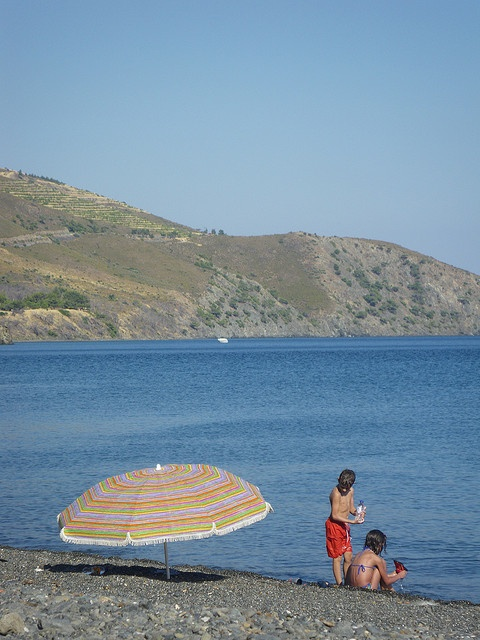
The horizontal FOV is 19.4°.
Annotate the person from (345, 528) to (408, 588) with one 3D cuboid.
[{"bbox_3d":[2.821,4.887,28.387,0.984,1.331,1.222,12,8,24],"label":"person"}]
